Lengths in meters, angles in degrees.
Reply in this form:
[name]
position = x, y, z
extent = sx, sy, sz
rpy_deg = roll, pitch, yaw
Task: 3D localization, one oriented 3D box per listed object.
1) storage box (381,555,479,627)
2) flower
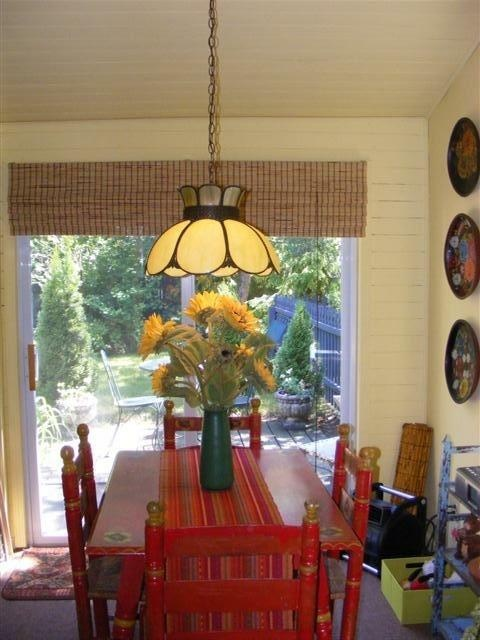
[storage box]
position = 0.762, 1.122, 2.368
extent = 0.270, 0.163, 0.318
rpy_deg = -1, 2, -1
[flower]
position = -0.097, 0.109, 1.685
extent = 0.409, 0.473, 0.460
rpy_deg = -7, 4, -14
